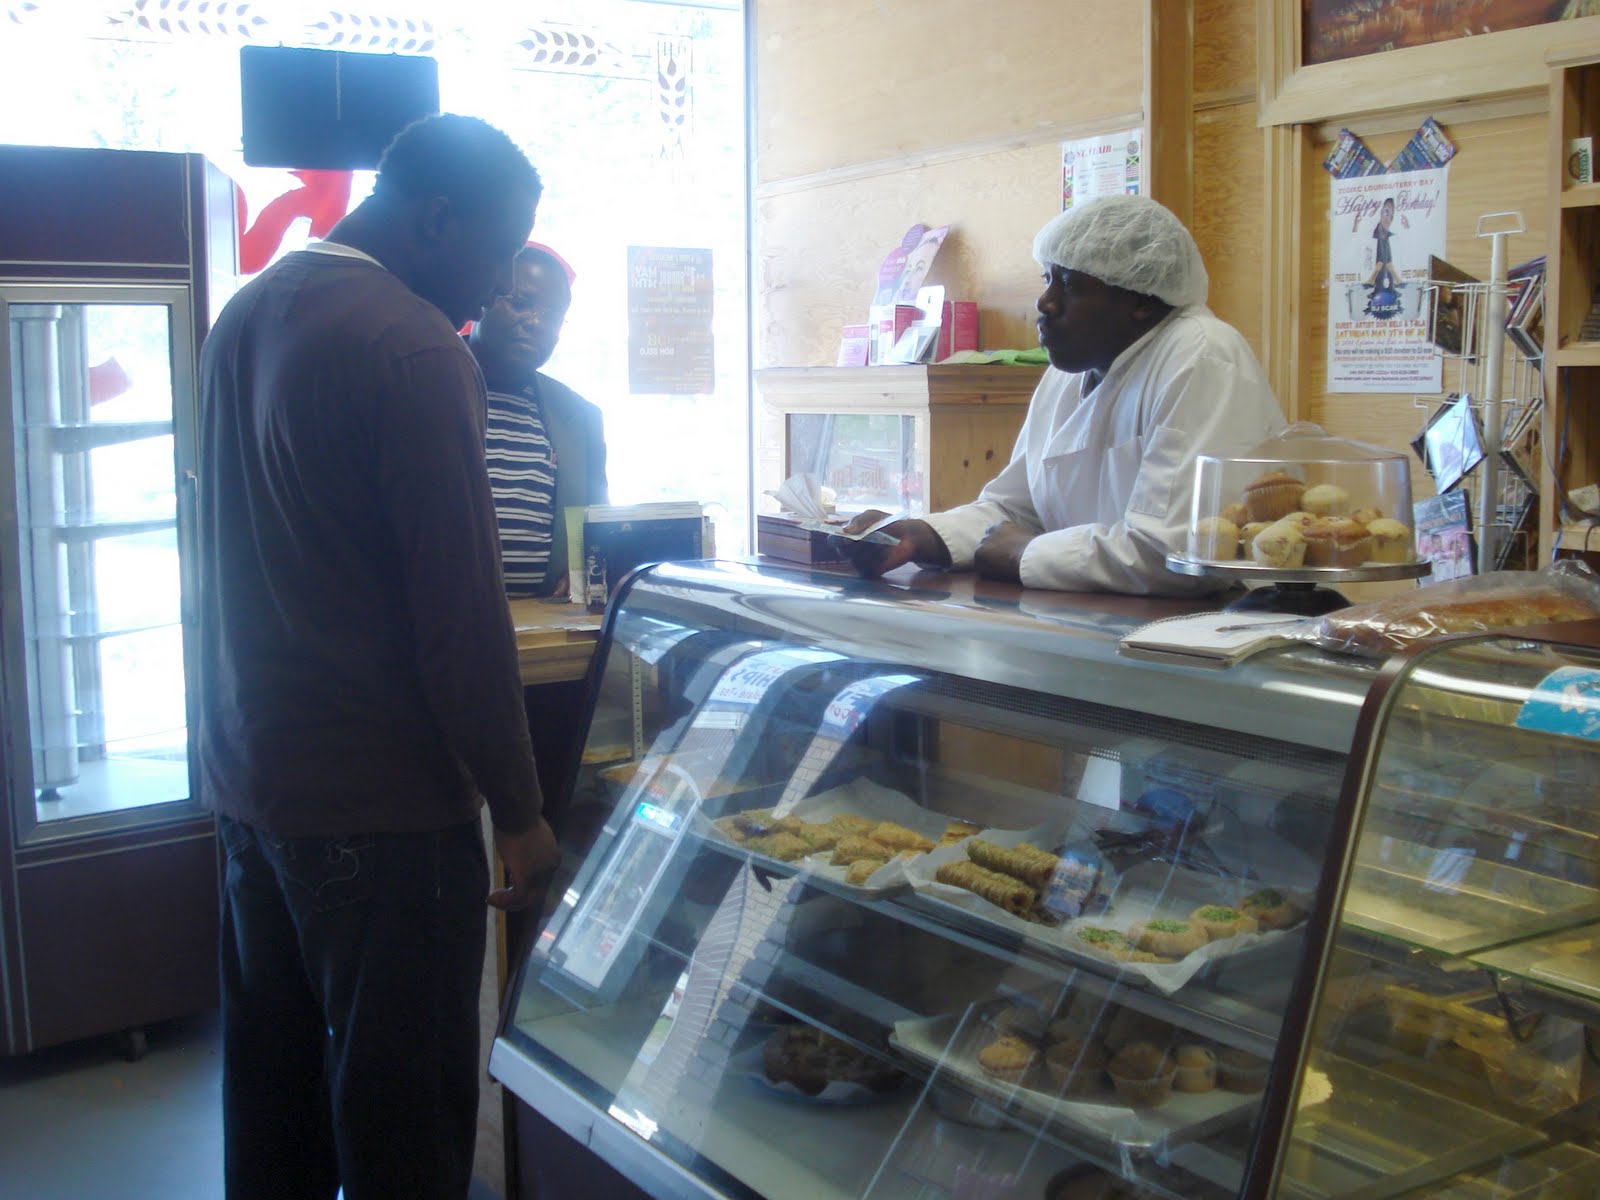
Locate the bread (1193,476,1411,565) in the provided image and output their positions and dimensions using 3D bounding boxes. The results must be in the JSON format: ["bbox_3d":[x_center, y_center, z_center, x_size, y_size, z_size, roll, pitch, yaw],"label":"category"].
[{"bbox_3d":[0.717,-0.111,1.812,0.296,0.128,0.129,-1,13,16],"label":"bread"}]

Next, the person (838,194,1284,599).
[{"bbox_3d":[0.621,-0.393,2.818,1.044,0.881,0.754,-4,12,-2],"label":"person"}]

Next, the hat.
[{"bbox_3d":[0.689,-0.733,2.748,0.293,0.159,0.244,10,11,-9],"label":"hat"}]

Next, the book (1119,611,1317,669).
[{"bbox_3d":[0.525,0.038,1.567,0.246,0.032,0.198,-7,13,-14],"label":"book"}]
